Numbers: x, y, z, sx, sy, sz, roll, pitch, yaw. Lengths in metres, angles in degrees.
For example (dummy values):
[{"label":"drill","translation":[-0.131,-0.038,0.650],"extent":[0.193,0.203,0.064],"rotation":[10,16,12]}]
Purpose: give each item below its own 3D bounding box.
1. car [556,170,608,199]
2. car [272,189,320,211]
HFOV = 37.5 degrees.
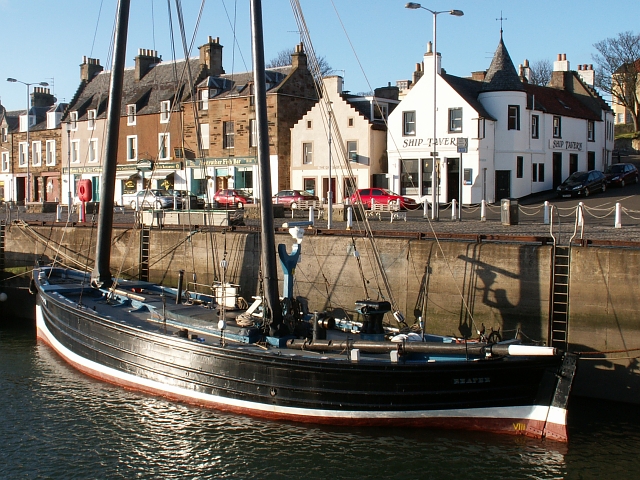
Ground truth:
[{"label":"car","translation":[13.670,-2.917,49.153],"extent":[1.236,0.922,2.656],"rotation":[0,5,39]},{"label":"car","translation":[-1.317,-2.123,50.011],"extent":[2.518,0.834,1.093],"rotation":[8,9,38]}]
